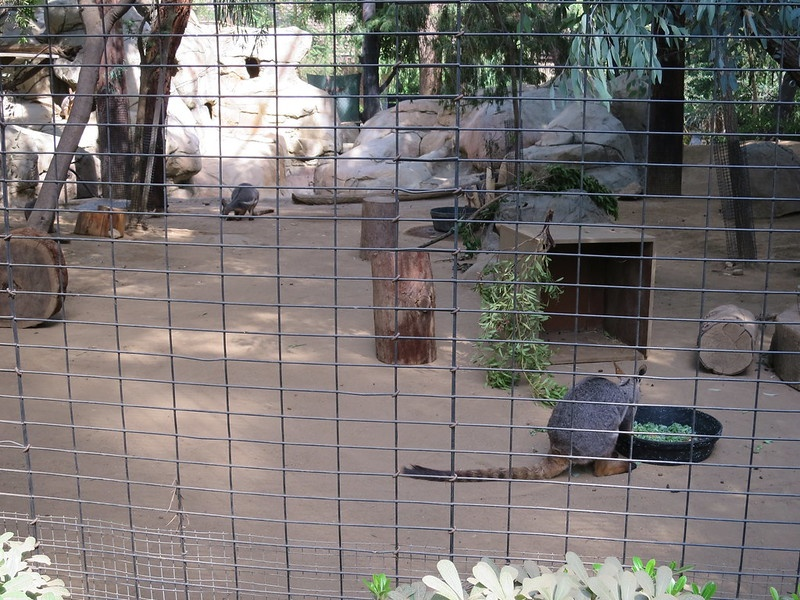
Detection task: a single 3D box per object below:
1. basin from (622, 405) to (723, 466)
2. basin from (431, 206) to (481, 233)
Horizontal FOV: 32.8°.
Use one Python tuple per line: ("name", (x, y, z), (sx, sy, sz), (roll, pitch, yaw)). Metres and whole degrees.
("basin", (2.556, 1.175, 12.878), (1.005, 0.210, 0.887), (-6, 12, -20))
("basin", (0.698, -1.216, 20.059), (0.848, 0.288, 0.840), (0, 6, 0))
